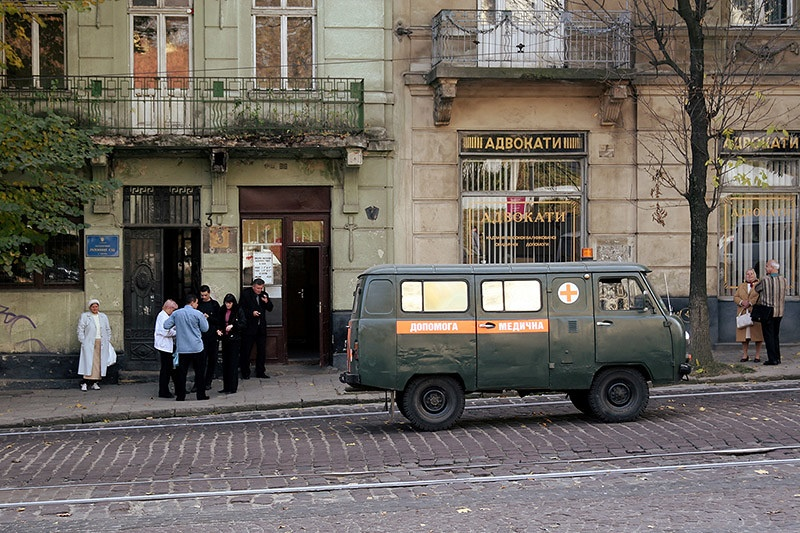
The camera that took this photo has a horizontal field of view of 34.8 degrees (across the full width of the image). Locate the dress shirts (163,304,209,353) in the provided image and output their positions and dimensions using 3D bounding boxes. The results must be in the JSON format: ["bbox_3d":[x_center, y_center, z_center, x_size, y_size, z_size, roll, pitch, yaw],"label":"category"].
[{"bbox_3d":[-4.752,1.425,28.783,1.082,0.961,0.596,-2,0,13],"label":"dress shirts"}]

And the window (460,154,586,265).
[{"bbox_3d":[2.940,-1.512,32.073,2.927,2.918,0.122,-1,3,-1],"label":"window"}]

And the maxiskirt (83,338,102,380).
[{"bbox_3d":[-7.168,2.262,30.145,0.246,0.863,0.547,5,1,34],"label":"maxiskirt"}]

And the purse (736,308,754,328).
[{"bbox_3d":[8.284,1.242,30.695,0.413,0.493,0.185,-17,-19,35],"label":"purse"}]

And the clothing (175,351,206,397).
[{"bbox_3d":[-4.721,2.414,28.670,0.752,1.323,0.408,5,-13,-31],"label":"clothing"}]

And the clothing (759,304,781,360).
[{"bbox_3d":[8.744,1.609,30.220,0.510,1.334,0.426,-4,4,-42],"label":"clothing"}]

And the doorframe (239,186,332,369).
[{"bbox_3d":[-2.803,0.212,31.810,2.425,4.364,0.626,-2,5,-21],"label":"doorframe"}]

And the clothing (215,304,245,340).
[{"bbox_3d":[-3.984,1.239,29.560,0.697,0.998,0.565,2,8,15],"label":"clothing"}]

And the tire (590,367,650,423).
[{"bbox_3d":[4.363,2.581,25.614,1.084,1.025,0.342,4,-10,-6],"label":"tire"}]

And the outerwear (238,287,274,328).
[{"bbox_3d":[-3.483,1.074,30.669,0.906,1.058,0.611,0,2,-28],"label":"outerwear"}]

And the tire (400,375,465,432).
[{"bbox_3d":[0.652,2.705,25.469,1.171,1.106,0.363,2,0,0],"label":"tire"}]

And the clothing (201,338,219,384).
[{"bbox_3d":[-4.407,2.124,29.474,0.361,1.066,0.266,1,-4,12],"label":"clothing"}]

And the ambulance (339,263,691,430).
[{"bbox_3d":[2.398,1.555,26.559,7.029,3.277,2.608,-1,-1,-4],"label":"ambulance"}]

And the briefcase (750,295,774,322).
[{"bbox_3d":[8.564,1.015,30.217,0.210,0.479,0.531,17,4,-43],"label":"briefcase"}]
